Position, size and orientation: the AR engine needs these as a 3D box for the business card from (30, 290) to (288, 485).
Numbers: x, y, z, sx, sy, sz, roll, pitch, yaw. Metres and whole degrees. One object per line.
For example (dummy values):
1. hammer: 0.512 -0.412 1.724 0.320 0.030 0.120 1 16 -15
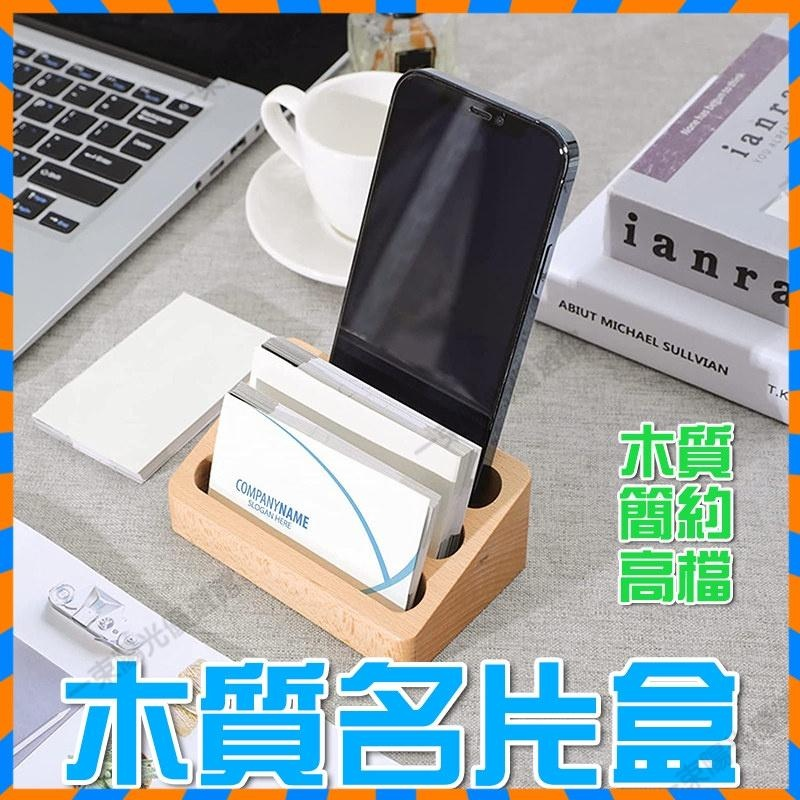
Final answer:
1. business card: -0.157 -0.008 0.517 0.104 0.013 0.141 27 53 23

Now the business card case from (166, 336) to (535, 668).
1. business card case: -0.030 0.060 0.431 0.161 0.061 0.116 33 51 20
